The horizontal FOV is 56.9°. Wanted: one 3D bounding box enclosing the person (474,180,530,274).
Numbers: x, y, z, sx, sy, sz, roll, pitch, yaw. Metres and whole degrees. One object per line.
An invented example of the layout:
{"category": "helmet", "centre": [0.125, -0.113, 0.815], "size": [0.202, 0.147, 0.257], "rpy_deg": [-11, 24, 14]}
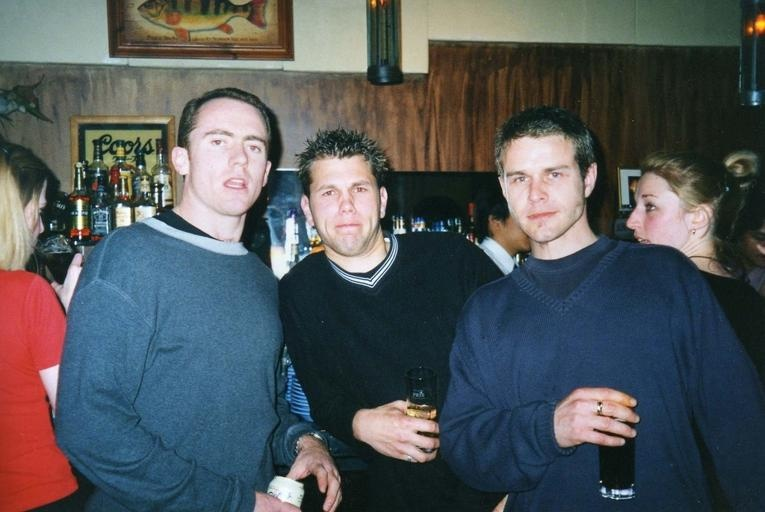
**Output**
{"category": "person", "centre": [0.831, -0.203, 5.118], "size": [0.462, 0.689, 0.418], "rpy_deg": [7, 21, 29]}
